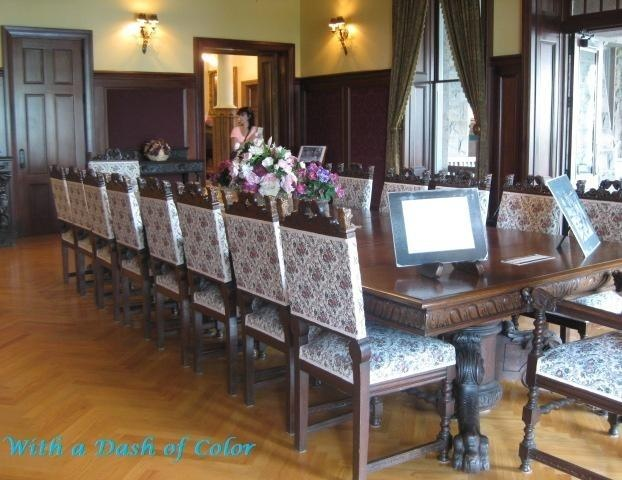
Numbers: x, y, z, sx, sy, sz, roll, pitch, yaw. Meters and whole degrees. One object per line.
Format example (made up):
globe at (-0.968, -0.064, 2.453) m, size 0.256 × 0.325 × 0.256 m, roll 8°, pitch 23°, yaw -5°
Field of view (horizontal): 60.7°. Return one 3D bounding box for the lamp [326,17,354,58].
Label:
lamp at (0.450, -3.241, 8.470) m, size 0.229 × 0.582 × 0.351 m, roll -9°, pitch 14°, yaw -38°

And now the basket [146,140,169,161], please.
basket at (-2.367, -1.364, 8.184) m, size 0.313 × 0.223 × 0.320 m, roll 2°, pitch 2°, yaw -15°

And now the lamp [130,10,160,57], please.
lamp at (-2.520, -3.160, 8.157) m, size 0.315 × 0.578 × 0.170 m, roll 5°, pitch 2°, yaw -17°

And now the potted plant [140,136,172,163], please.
potted plant at (-2.413, -1.392, 8.257) m, size 0.372 × 0.268 × 0.375 m, roll 0°, pitch 3°, yaw -29°

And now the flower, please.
flower at (-0.307, -0.570, 3.818) m, size 0.458 × 0.267 × 0.589 m, roll 2°, pitch -22°, yaw -34°
